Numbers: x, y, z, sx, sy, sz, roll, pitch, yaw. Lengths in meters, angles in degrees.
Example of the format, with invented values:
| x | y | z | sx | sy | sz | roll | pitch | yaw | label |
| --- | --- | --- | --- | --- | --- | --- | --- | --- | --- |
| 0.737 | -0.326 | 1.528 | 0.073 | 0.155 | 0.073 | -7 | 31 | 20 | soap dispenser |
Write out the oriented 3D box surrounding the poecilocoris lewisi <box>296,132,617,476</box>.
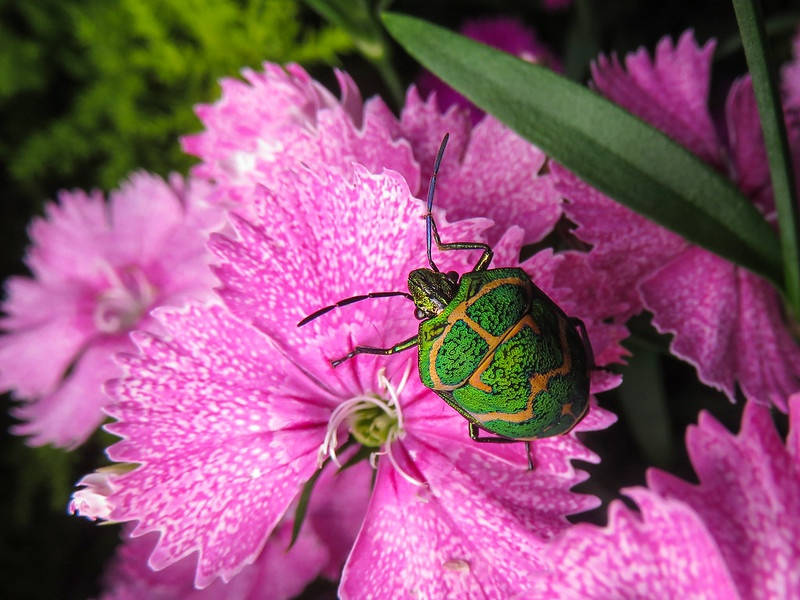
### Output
| x | y | z | sx | sy | sz | roll | pitch | yaw | label |
| --- | --- | --- | --- | --- | --- | --- | --- | --- | --- |
| 0.079 | 0.029 | 0.953 | 0.308 | 0.105 | 0.272 | 40 | 85 | 8 | poecilocoris lewisi |
